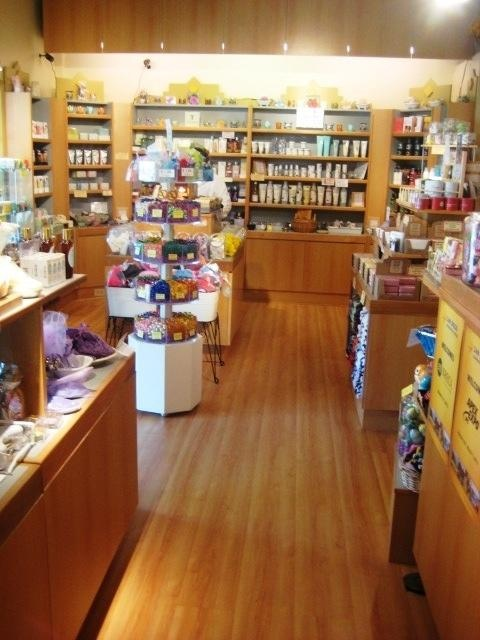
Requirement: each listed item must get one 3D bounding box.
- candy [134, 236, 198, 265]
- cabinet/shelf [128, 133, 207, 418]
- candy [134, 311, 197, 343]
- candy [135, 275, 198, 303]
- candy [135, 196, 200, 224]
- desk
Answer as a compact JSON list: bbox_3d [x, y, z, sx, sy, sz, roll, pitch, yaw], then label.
[{"bbox_3d":[-0.550,-0.516,3.453,0.474,0.185,0.249,-1,10,-17],"label":"candy"},{"bbox_3d":[-0.576,-0.237,3.661,0.536,2.358,0.546,10,19,22],"label":"cabinet/shelf"},{"bbox_3d":[-0.574,0.021,3.589,0.420,0.232,0.395,5,20,2],"label":"candy"},{"bbox_3d":[-0.531,-0.214,3.428,0.242,0.120,0.260,0,9,-9],"label":"candy"},{"bbox_3d":[-0.532,-0.796,3.393,0.466,0.183,0.269,0,10,-9],"label":"candy"},{"bbox_3d":[-0.762,-0.073,4.896,1.137,1.055,0.909,-1,8,-3],"label":"desk"}]
